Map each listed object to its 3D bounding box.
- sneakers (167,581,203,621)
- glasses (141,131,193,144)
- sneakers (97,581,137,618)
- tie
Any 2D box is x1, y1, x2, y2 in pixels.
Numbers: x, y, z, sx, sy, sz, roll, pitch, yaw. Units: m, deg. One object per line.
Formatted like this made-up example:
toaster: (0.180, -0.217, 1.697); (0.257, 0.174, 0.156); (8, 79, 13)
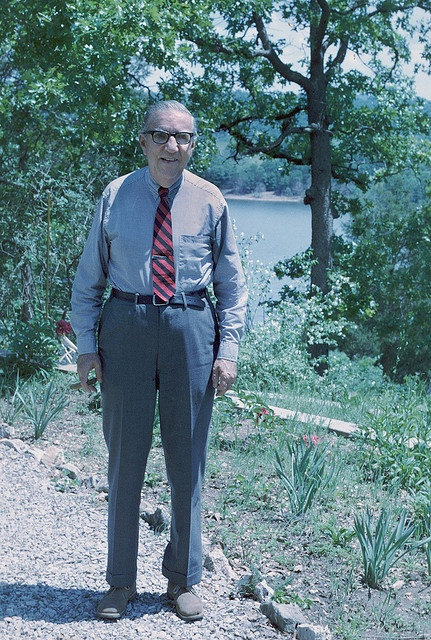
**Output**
sneakers: (-0.130, 1.242, 3.273); (0.086, 0.074, 0.182); (-1, 8, -31)
glasses: (-0.182, -0.765, 3.089); (0.173, 0.059, 0.072); (2, 13, -5)
sneakers: (-0.435, 1.234, 3.246); (0.077, 0.077, 0.184); (3, 0, 14)
tie: (-0.216, -0.316, 3.111); (0.102, 0.469, 0.192); (2, 14, -10)
